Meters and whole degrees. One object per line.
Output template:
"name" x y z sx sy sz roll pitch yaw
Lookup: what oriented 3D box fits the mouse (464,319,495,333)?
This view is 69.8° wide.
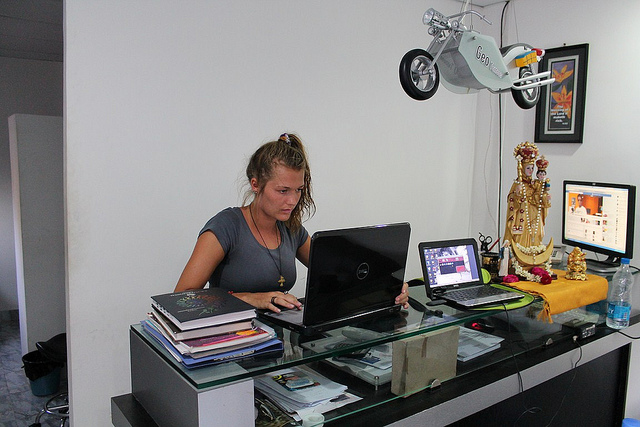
"mouse" 0.938 0.662 2.727 0.163 0.064 0.091 3 10 -15

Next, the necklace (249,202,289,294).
"necklace" -0.335 0.192 2.837 0.172 0.617 0.030 -10 -12 -36

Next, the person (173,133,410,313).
"person" -0.274 -0.047 3.459 1.128 1.986 1.150 10 14 30

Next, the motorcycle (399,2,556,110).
"motorcycle" 0.948 -0.942 2.904 1.178 0.644 0.492 2 3 -28

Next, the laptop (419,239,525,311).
"laptop" 0.848 0.347 2.634 0.481 0.423 0.291 2 -9 -28

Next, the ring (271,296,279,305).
"ring" -0.242 0.462 2.438 0.030 0.042 0.046 -10 -6 17

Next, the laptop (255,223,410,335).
"laptop" 0.130 0.316 2.309 0.629 0.494 0.132 -4 7 -25

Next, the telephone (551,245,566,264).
"telephone" 1.807 0.319 3.495 0.141 0.142 0.034 10 -14 43

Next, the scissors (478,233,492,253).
"scissors" 1.313 0.235 3.660 0.020 0.199 0.165 -4 5 41
